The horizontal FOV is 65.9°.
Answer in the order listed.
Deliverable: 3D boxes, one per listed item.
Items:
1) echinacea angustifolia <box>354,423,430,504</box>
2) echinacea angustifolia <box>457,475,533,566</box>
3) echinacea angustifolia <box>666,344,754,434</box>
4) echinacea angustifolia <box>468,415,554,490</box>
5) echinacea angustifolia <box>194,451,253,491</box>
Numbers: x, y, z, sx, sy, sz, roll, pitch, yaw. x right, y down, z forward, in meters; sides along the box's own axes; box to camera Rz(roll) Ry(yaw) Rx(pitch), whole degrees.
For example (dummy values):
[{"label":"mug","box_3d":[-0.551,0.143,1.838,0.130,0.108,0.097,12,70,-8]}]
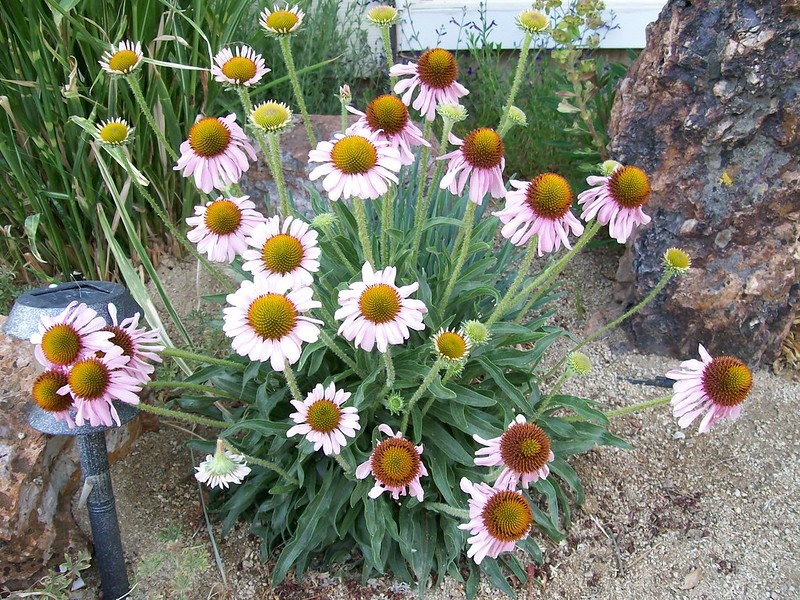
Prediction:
[{"label":"echinacea angustifolia","box_3d":[-0.027,0.760,2.740,0.250,0.272,0.270,-26,54,-34]},{"label":"echinacea angustifolia","box_3d":[0.368,0.902,2.600,0.287,0.311,0.345,9,77,-22]},{"label":"echinacea angustifolia","box_3d":[1.592,0.479,3.168,0.277,0.418,0.307,31,74,-10]},{"label":"echinacea angustifolia","box_3d":[0.487,0.697,2.802,0.286,0.392,0.275,42,81,-3]},{"label":"echinacea angustifolia","box_3d":[-0.808,0.819,2.843,0.204,0.220,0.107,16,62,-32]}]
